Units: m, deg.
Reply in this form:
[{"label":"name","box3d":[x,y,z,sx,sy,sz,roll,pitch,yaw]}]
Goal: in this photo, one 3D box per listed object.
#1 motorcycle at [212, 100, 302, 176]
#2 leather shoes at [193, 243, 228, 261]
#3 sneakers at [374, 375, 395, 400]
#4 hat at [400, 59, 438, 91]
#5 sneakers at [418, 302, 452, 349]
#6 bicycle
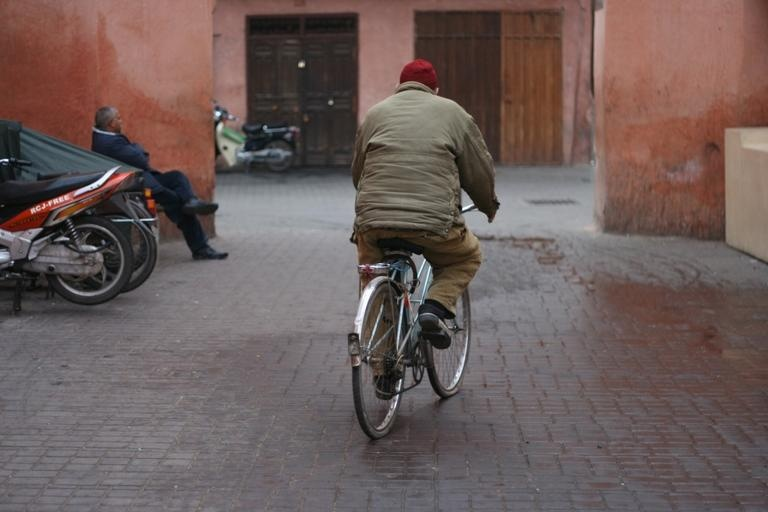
[{"label":"motorcycle","box3d":[-2.706,-2.703,23.247,2.256,1.447,1.169,3,16,2]},{"label":"leather shoes","box3d":[-2.093,-0.030,12.399,0.515,0.214,0.175,-1,3,-2]},{"label":"sneakers","box3d":[0.008,0.966,7.288,0.190,0.187,0.152,2,2,-1]},{"label":"hat","box3d":[0.264,-1.390,7.690,0.219,0.261,0.299,7,18,15]},{"label":"sneakers","box3d":[0.379,0.539,7.461,0.165,0.427,0.197,-3,53,31]},{"label":"bicycle","box3d":[0.087,0.610,7.353,0.865,1.141,1.899,1,10,18]}]
